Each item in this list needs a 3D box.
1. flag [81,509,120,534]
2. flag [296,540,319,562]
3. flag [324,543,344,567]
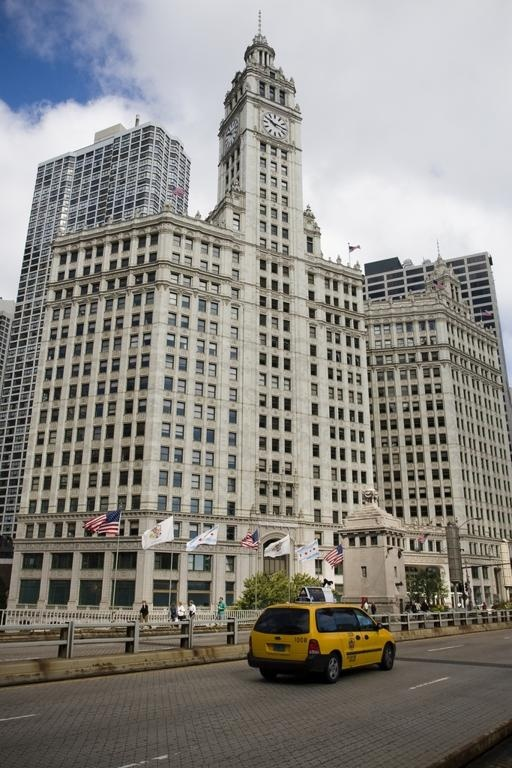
[{"bbox_3d":[-10.406,9.555,40.476,1.546,1.471,4.032,10,-18,-28],"label":"flag"},{"bbox_3d":[3.696,11.666,41.268,1.141,1.438,4.153,-2,-16,10],"label":"flag"},{"bbox_3d":[5.851,12.646,43.388,0.980,1.490,2.715,-1,-16,6],"label":"flag"}]
